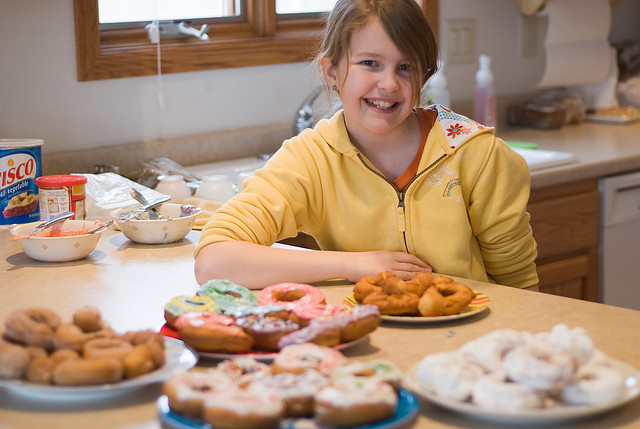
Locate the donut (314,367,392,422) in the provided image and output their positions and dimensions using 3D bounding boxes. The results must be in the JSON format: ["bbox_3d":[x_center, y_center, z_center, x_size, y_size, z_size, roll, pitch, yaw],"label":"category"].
[{"bbox_3d":[0.031,0.223,0.625,0.084,0.038,0.077,-11,13,-28],"label":"donut"}]

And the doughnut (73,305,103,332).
[{"bbox_3d":[-0.353,0.160,0.779,0.042,0.038,0.040,2,3,1],"label":"doughnut"}]

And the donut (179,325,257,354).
[{"bbox_3d":[-0.169,0.199,0.816,0.071,0.023,0.070,0,16,-35],"label":"donut"}]

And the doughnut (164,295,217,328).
[{"bbox_3d":[-0.233,0.167,0.900,0.096,0.034,0.094,11,5,-12],"label":"doughnut"}]

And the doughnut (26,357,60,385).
[{"bbox_3d":[-0.404,0.224,0.735,0.039,0.014,0.036,-3,46,-8],"label":"doughnut"}]

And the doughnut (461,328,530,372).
[{"bbox_3d":[0.227,0.169,0.673,0.061,0.021,0.060,-26,17,-12],"label":"doughnut"}]

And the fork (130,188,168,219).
[{"bbox_3d":[-0.527,-0.029,1.561,0.142,0.020,0.012,43,16,21],"label":"fork"}]

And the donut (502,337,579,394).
[{"bbox_3d":[0.269,0.185,0.628,0.069,0.024,0.067,0,30,9],"label":"donut"}]

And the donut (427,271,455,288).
[{"bbox_3d":[0.241,0.128,1.018,0.048,0.015,0.045,1,7,1],"label":"donut"}]

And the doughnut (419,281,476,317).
[{"bbox_3d":[0.233,0.156,0.998,0.103,0.054,0.089,-1,11,-18],"label":"doughnut"}]

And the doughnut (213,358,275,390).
[{"bbox_3d":[-0.107,0.217,0.721,0.056,0.026,0.064,-5,10,-34],"label":"doughnut"}]

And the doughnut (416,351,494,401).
[{"bbox_3d":[0.188,0.196,0.700,0.117,0.050,0.080,7,12,23],"label":"doughnut"}]

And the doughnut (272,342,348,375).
[{"bbox_3d":[-0.018,0.197,0.699,0.100,0.029,0.069,-9,12,-40],"label":"doughnut"}]

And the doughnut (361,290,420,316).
[{"bbox_3d":[0.141,0.160,0.945,0.067,0.023,0.050,0,5,2],"label":"doughnut"}]

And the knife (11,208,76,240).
[{"bbox_3d":[-0.750,0.029,1.389,0.122,0.016,0.025,-36,39,-23],"label":"knife"}]
